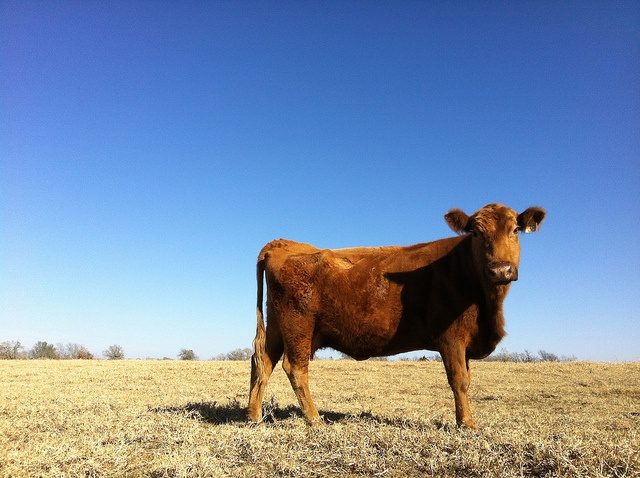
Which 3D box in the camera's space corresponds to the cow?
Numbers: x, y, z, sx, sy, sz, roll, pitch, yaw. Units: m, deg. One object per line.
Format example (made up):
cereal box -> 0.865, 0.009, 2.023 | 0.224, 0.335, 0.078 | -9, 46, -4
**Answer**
cow -> 1.585, 2.176, 12.161 | 3.915, 3.311, 2.020 | -8, -28, 20
